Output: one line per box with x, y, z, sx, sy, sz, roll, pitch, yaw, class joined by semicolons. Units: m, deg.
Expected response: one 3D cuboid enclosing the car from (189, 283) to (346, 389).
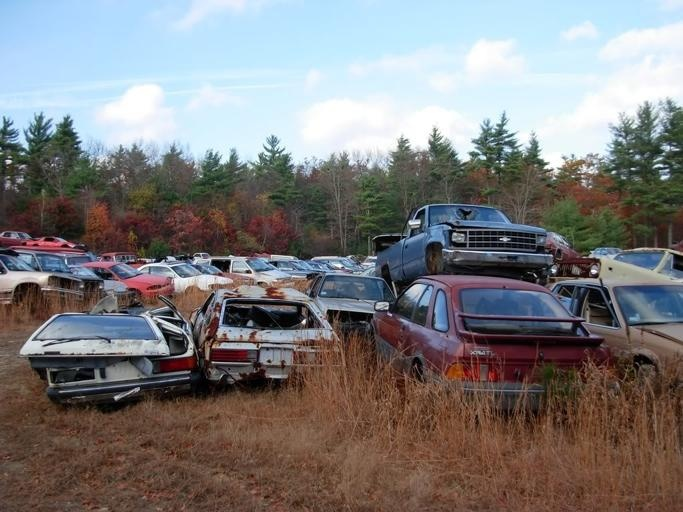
-1.170;1.081;8.747;1.765;1.118;1.735;-5;12;-17;car

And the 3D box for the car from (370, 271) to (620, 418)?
1.540;0.950;8.056;1.371;0.851;2.556;1;5;-11;car

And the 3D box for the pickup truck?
2.075;-0.144;12.091;1.573;1.200;3.486;1;-5;-15;pickup truck
